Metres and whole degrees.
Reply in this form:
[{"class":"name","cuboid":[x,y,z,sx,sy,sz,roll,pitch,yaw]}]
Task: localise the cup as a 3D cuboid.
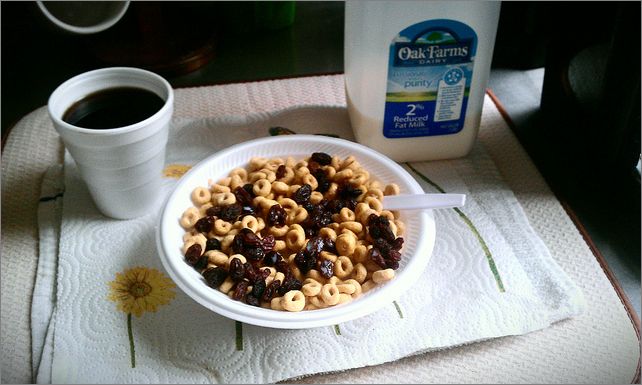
[{"class":"cup","cuboid":[-0.427,-0.088,1.102,0.248,0.253,0.238,5,40,-4]}]
